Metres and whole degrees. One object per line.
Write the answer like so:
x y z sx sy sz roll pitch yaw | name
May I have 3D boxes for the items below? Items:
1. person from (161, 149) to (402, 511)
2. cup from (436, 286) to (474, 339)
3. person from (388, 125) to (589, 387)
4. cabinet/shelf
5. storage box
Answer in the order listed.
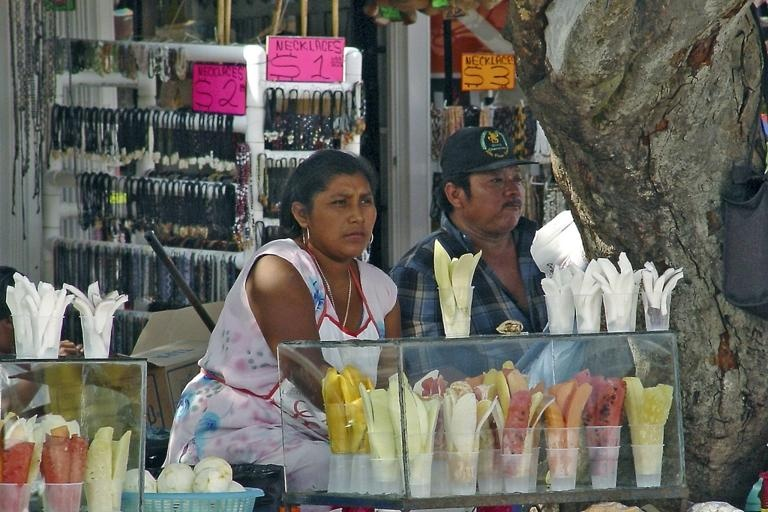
-0.574 0.294 14.057 1.288 1.664 0.497 -2 -4 -5 | person
0.379 0.310 13.442 0.230 0.288 0.219 0 -6 0 | cup
0.646 0.243 14.923 1.135 1.936 1.009 2 -10 -30 | person
-1.039 -0.477 15.189 1.445 1.545 0.492 -3 3 3 | cabinet/shelf
-1.186 0.655 14.522 0.329 0.480 0.636 12 13 21 | storage box
